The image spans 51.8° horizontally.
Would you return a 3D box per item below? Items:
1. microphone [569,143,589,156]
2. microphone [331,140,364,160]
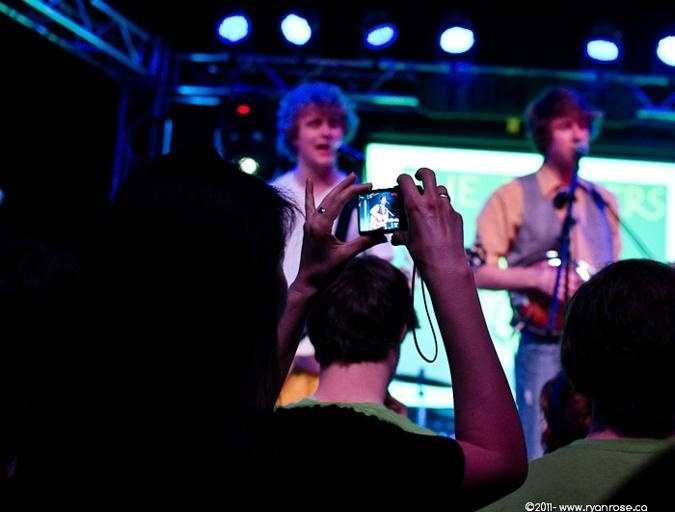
[{"bbox_3d":[1.303,-0.578,3.758,0.053,0.027,0.080,1,-33,5],"label":"microphone"},{"bbox_3d":[0.061,-0.812,5.234,0.340,0.074,0.086,21,11,-48],"label":"microphone"}]
